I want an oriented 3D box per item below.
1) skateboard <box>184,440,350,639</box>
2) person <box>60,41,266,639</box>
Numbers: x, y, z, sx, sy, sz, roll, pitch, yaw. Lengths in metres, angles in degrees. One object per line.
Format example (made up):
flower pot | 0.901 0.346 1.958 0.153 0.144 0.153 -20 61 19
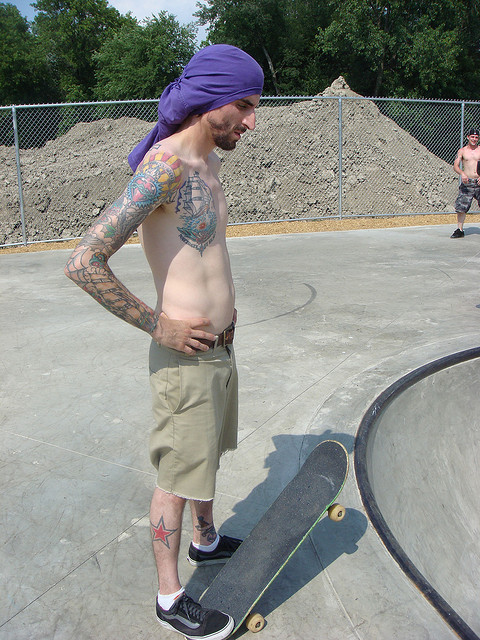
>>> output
skateboard | 0.246 0.599 1.736 0.896 0.155 0.232 -42 39 -22
person | -0.203 0.068 1.463 0.448 1.562 0.632 3 21 3
